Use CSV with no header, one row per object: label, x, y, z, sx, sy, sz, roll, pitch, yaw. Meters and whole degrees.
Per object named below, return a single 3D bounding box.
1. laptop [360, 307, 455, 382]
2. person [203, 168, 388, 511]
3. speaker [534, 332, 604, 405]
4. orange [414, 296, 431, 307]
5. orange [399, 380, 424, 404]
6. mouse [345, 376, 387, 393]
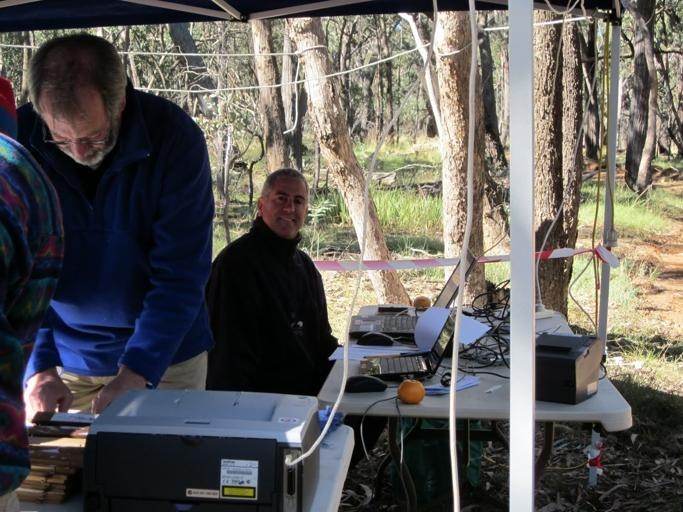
laptop,0.289,0.366,3.224,0.443,0.314,0.467,5,0,11
person,-0.229,0.392,4.040,0.987,1.651,0.889,4,2,14
speaker,0.886,0.444,2.942,0.247,0.249,0.257,8,13,39
orange,0.480,0.273,4.344,0.065,0.045,0.066,-5,6,-37
orange,0.272,0.526,2.872,0.081,0.085,0.087,17,5,2
mouse,0.101,0.499,2.924,0.127,0.049,0.075,-3,9,-6
